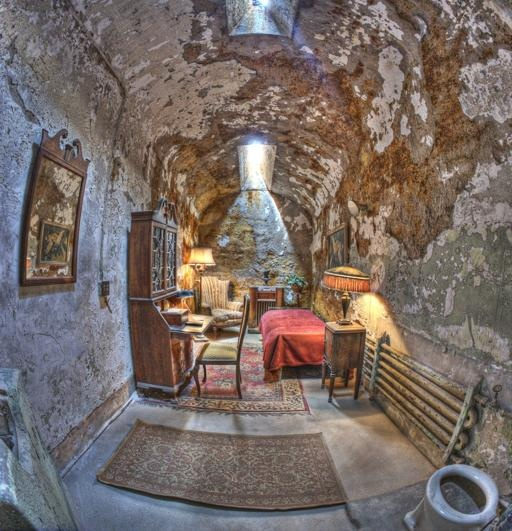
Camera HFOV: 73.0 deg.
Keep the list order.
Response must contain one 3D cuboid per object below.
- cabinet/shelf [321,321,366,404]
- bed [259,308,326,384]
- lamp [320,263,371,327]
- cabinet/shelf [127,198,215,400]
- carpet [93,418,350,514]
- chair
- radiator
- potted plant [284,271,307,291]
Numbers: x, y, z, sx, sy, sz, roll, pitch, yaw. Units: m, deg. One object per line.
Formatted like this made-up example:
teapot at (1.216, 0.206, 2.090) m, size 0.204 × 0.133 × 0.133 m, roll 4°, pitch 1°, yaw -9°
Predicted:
cabinet/shelf at (0.885, 0.967, 3.581) m, size 0.342 × 0.754 × 0.447 m, roll 2°, pitch 5°, yaw -11°
bed at (0.450, 1.014, 4.251) m, size 0.578 × 0.339 × 1.115 m, roll -1°, pitch -3°, yaw -2°
lamp at (0.954, 0.276, 3.698) m, size 0.490 × 0.713 × 0.538 m, roll 1°, pitch 4°, yaw 17°
cabinet/shelf at (-0.881, 0.339, 3.570) m, size 0.589 × 1.945 × 0.637 m, roll 2°, pitch 5°, yaw 16°
carpet at (-0.221, 1.404, 2.457) m, size 1.618 × 0.097 × 0.730 m, roll 1°, pitch 4°, yaw 4°
chair at (-0.386, 0.855, 3.750) m, size 0.707 × 1.052 × 0.675 m, roll 4°, pitch 3°, yaw -40°
radiator at (1.200, 1.004, 2.629) m, size 0.140 × 0.582 × 0.863 m, roll 11°, pitch 10°, yaw -12°
potted plant at (0.827, 0.310, 7.004) m, size 0.355 × 0.378 × 0.222 m, roll 31°, pitch 1°, yaw 8°
